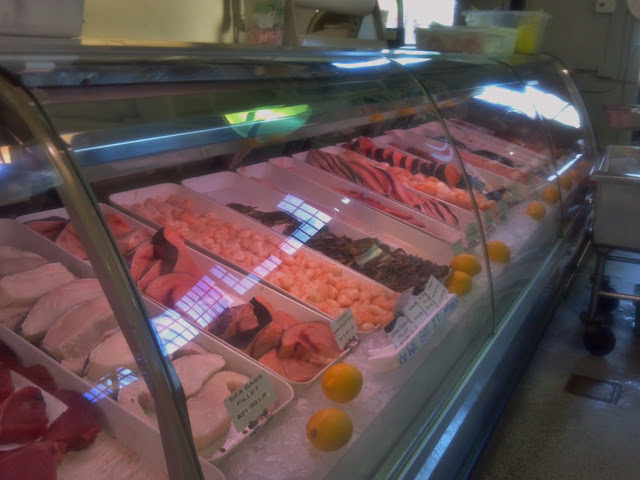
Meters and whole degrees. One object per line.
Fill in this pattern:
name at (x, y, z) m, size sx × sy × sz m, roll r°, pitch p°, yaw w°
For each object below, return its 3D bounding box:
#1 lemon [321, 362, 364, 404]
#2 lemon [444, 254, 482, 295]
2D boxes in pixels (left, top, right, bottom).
lemon at (0.051, 0.339, 0.949) m, size 0.078 × 0.099 × 0.078 m, roll 42°, pitch 63°, yaw -5°
lemon at (0.493, 0.123, 1.403) m, size 0.073 × 0.095 × 0.161 m, roll -7°, pitch 30°, yaw 38°
